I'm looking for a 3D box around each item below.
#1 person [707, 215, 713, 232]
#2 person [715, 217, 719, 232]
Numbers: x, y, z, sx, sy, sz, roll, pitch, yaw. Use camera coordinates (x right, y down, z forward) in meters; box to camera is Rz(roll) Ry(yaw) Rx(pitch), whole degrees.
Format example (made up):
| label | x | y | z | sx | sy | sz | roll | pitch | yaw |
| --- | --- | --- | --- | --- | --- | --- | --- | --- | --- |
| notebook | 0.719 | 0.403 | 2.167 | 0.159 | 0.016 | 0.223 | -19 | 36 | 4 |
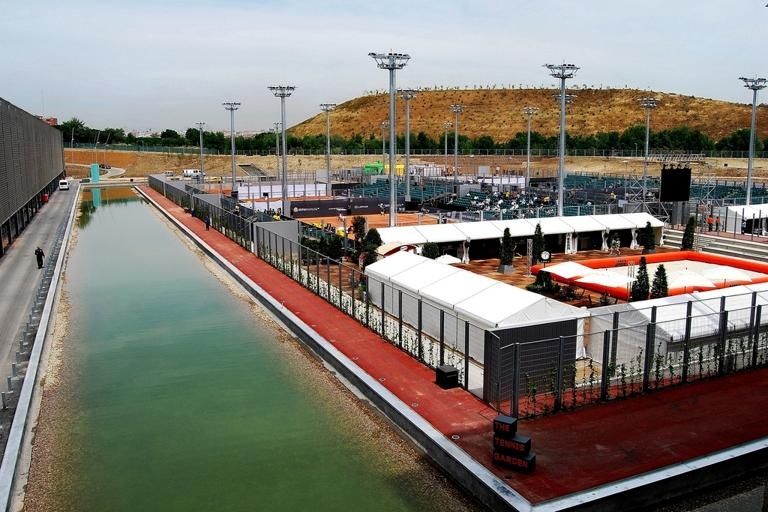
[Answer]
| label | x | y | z | sx | sy | sz | roll | pitch | yaw |
| --- | --- | --- | --- | --- | --- | --- | --- | --- | --- |
| person | 25.914 | -2.575 | 49.313 | 0.409 | 1.175 | 1.081 | 3 | 12 | 26 |
| person | 26.390 | -2.547 | 49.092 | 0.232 | 1.168 | 0.559 | 2 | 11 | 21 |
